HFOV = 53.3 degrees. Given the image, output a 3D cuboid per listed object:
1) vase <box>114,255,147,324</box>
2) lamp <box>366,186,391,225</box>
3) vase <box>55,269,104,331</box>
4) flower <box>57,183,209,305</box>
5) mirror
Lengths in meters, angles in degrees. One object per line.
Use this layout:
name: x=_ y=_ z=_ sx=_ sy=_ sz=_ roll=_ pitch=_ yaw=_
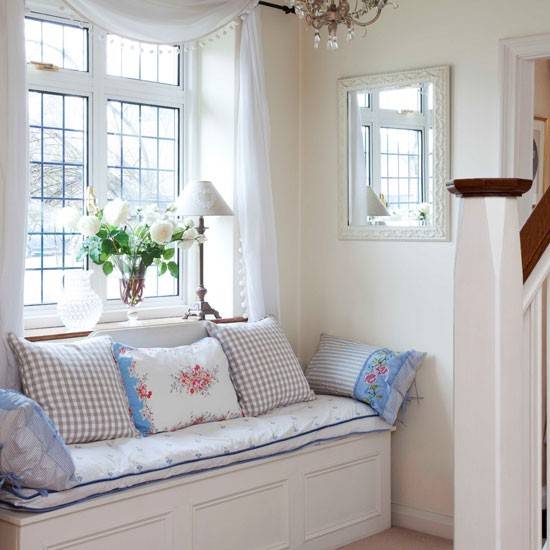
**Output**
vase: x=-0.756 y=0.074 z=2.921 sx=0.167 sy=0.394 sz=0.195 roll=1 pitch=9 yaw=-9
lamp: x=0.613 y=-0.450 z=3.344 sx=0.084 sy=0.184 sz=0.168 roll=-2 pitch=6 yaw=20
vase: x=-0.938 y=0.110 z=2.638 sx=0.233 sy=0.367 sz=0.234 roll=0 pitch=0 yaw=-41
flower: x=-0.799 y=-0.132 z=2.942 sx=0.686 sy=0.673 sz=0.667 roll=1 pitch=8 yaw=-27
mirror: x=0.729 y=-0.703 z=3.141 sx=0.611 sy=1.021 sz=0.029 roll=-1 pitch=-2 yaw=-2
